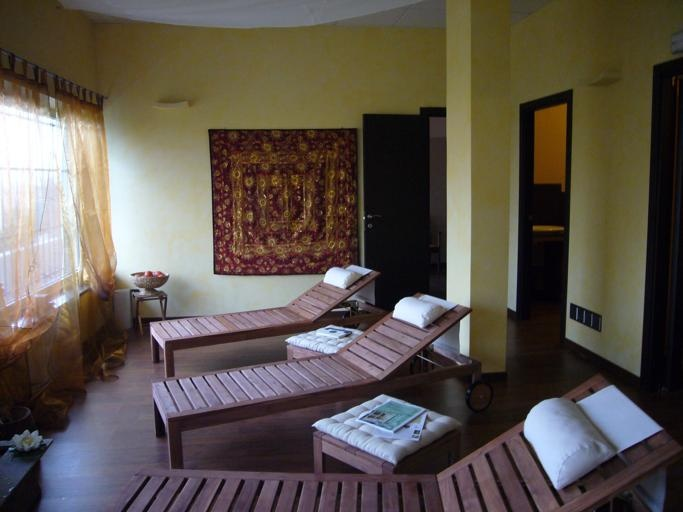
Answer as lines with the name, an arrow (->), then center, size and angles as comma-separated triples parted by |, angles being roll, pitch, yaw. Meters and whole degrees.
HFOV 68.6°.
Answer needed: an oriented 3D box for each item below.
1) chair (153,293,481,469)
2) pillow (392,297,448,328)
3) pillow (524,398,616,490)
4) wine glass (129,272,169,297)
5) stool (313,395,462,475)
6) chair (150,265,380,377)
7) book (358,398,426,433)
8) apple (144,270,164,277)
chair -> -0.175, 0.919, 3.979 | 2.435, 0.953, 0.836 | -2, 3, -27
pillow -> 0.675, 0.472, 4.476 | 0.322, 0.139, 0.399 | -26, 25, -33
pillow -> 1.170, 0.939, 2.650 | 0.366, 0.155, 0.476 | -32, 16, 1
wine glass -> -2.306, 0.315, 6.111 | 0.324, 0.202, 0.335 | -1, 7, -8
stool -> 0.296, 1.261, 3.285 | 0.715, 0.424, 0.698 | -5, 7, -43
chair -> -0.771, 0.665, 5.339 | 2.270, 0.954, 0.877 | -3, 5, -26
book -> 0.325, 1.042, 3.338 | 0.383, 0.010, 0.332 | -9, -3, -45
apple -> -2.266, 0.221, 6.121 | 0.118, 0.050, 0.133 | 1, 4, 1
